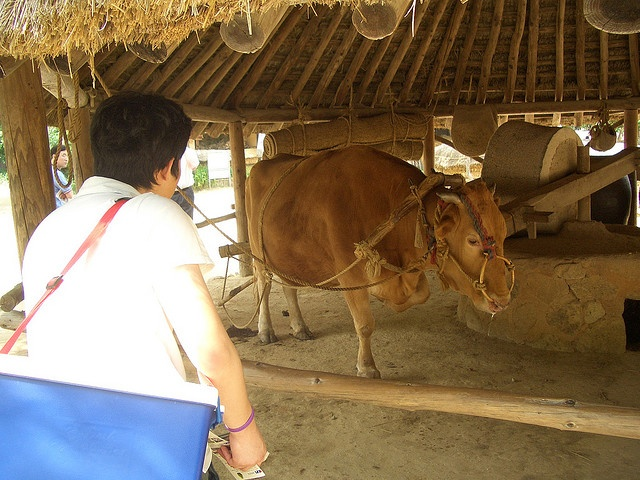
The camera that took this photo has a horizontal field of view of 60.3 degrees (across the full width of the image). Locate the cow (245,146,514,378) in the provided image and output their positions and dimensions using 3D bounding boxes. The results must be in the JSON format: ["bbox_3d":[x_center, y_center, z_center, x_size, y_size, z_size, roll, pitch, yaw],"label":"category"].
[{"bbox_3d":[0.297,0.263,4.406,0.733,1.938,2.580,-13,17,-34],"label":"cow"}]
